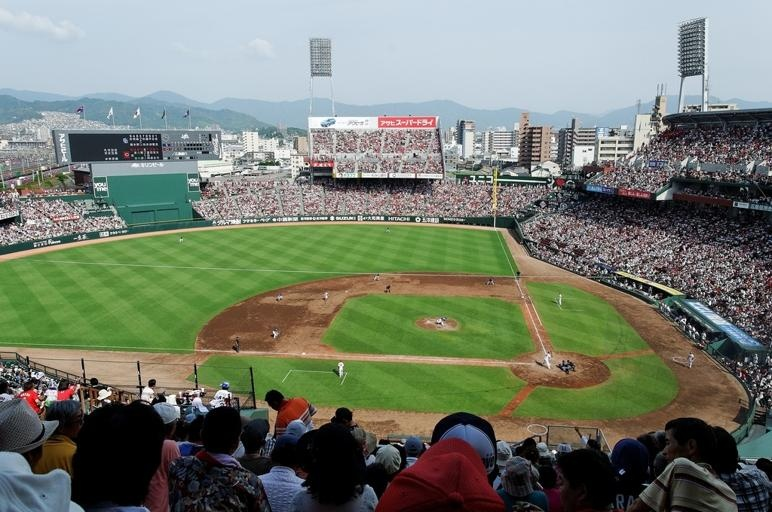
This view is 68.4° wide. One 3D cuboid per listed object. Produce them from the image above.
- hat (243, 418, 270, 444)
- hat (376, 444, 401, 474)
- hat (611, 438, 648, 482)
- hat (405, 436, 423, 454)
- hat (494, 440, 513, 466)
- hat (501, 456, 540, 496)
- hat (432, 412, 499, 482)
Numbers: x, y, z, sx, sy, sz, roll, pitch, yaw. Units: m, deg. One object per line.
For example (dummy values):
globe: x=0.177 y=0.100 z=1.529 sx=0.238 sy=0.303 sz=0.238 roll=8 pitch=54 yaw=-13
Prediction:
hat: x=-2.283 y=3.203 z=10.204 sx=0.642 sy=0.274 sz=0.817 roll=2 pitch=3 yaw=-11
hat: x=0.023 y=3.594 z=10.116 sx=0.376 sy=0.428 sz=0.469 roll=-3 pitch=-2 yaw=-14
hat: x=4.441 y=3.641 z=10.454 sx=0.635 sy=0.440 sz=0.882 roll=2 pitch=10 yaw=10
hat: x=0.619 y=4.148 z=12.396 sx=0.464 sy=0.283 sz=0.685 roll=3 pitch=-1 yaw=1
hat: x=2.462 y=4.186 z=12.114 sx=0.504 sy=0.338 sz=0.728 roll=0 pitch=-1 yaw=6
hat: x=1.983 y=3.258 z=8.515 sx=0.434 sy=0.298 sz=0.571 roll=0 pitch=8 yaw=12
hat: x=1.159 y=3.050 z=8.597 sx=0.925 sy=0.617 sz=1.294 roll=11 pitch=50 yaw=-1
